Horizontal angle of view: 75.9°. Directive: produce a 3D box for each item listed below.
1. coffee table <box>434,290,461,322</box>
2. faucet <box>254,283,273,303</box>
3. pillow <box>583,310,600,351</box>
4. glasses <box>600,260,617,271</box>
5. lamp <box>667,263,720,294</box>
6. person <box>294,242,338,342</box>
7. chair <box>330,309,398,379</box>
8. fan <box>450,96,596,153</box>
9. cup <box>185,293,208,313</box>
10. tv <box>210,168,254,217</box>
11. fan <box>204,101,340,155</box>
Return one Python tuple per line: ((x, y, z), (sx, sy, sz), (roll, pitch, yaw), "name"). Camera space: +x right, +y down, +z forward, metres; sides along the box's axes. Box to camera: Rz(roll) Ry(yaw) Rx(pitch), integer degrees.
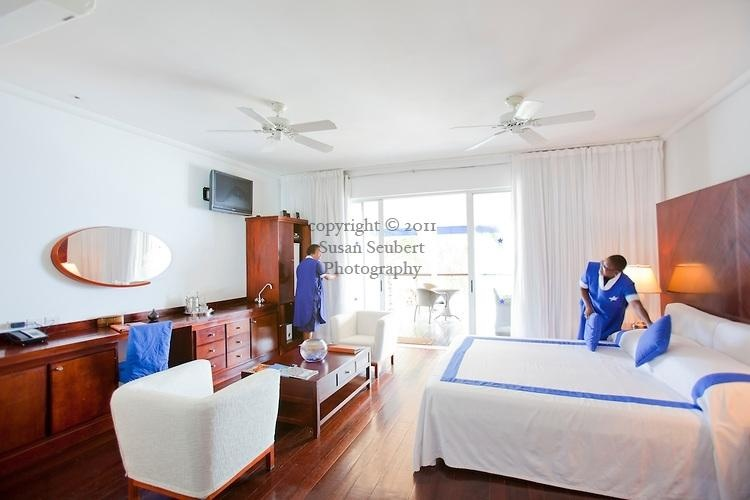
((1.137, 0.862, 7.598), (0.431, 0.431, 0.423), (5, -8, -44), "coffee table")
((-1.699, 0.643, 7.123), (0.293, 0.315, 0.373), (-2, -1, 9), "faucet")
((2.407, 0.895, 5.320), (0.168, 0.445, 0.342), (5, -4, 21), "pillow")
((2.641, 0.159, 5.455), (0.086, 0.122, 0.236), (-2, -1, -5), "glasses")
((3.449, 0.310, 5.230), (0.259, 0.234, 0.257), (-3, -3, -26), "lamp")
((-0.960, 0.569, 7.092), (0.490, 1.358, 0.298), (-2, 0, -10), "person")
((-0.093, 1.262, 6.673), (0.855, 0.879, 0.822), (-2, -6, 24), "chair")
((1.684, -1.481, 5.519), (0.874, 0.509, 1.407), (-1, -1, -15), "fan")
((-2.367, 0.718, 6.374), (0.269, 0.271, 0.276), (-3, -4, 0), "cup")
((-2.118, -0.827, 7.045), (0.081, 0.556, 0.789), (1, 1, 27), "tv")
((-1.184, -1.406, 5.631), (1.225, 0.564, 1.462), (-1, -1, -22), "fan")
